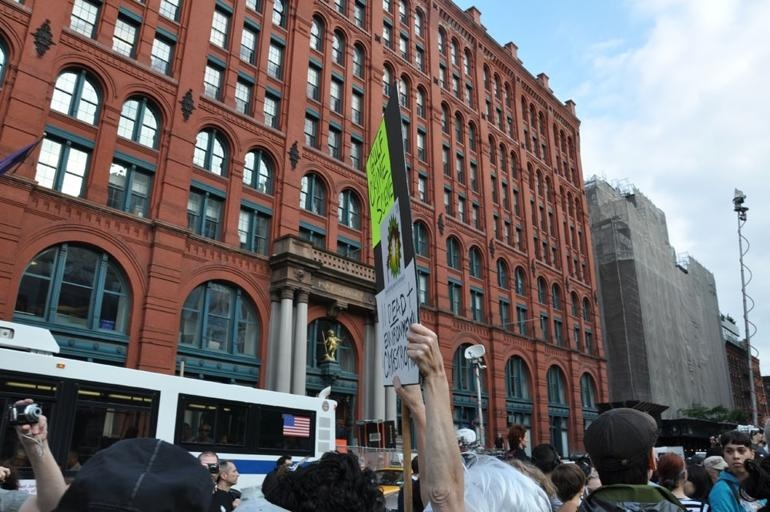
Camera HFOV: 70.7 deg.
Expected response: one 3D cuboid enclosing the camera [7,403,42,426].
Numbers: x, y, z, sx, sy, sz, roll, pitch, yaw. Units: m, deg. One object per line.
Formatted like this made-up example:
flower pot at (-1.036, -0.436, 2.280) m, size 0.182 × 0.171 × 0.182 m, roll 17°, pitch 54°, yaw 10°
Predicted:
camera at (-4.423, 1.943, 6.679) m, size 0.270 × 0.270 × 0.389 m, roll -21°, pitch -25°, yaw 34°
